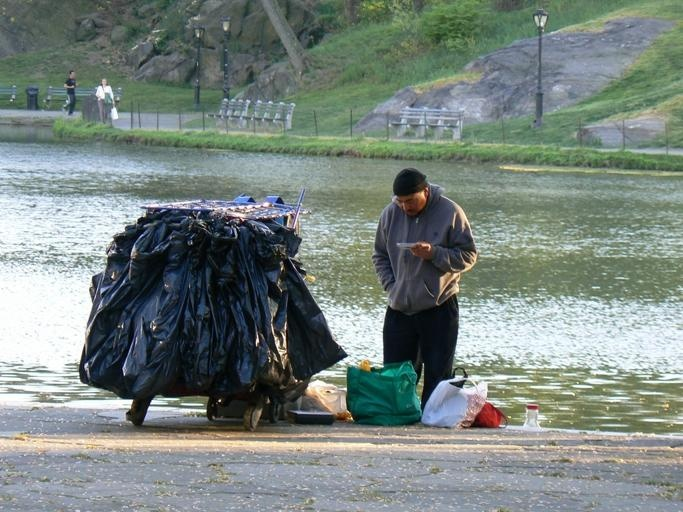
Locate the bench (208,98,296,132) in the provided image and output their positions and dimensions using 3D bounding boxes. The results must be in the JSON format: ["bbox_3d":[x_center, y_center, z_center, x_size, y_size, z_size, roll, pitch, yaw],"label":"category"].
[{"bbox_3d":[-3.236,-5.115,66.901,2.962,1.691,2.900,-9,13,-42],"label":"bench"}]

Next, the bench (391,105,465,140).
[{"bbox_3d":[2.899,-4.481,61.745,2.301,1.017,4.946,1,5,-12],"label":"bench"}]

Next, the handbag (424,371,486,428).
[{"bbox_3d":[2.101,2.712,33.490,1.213,1.021,0.751,-15,9,-8],"label":"handbag"}]
